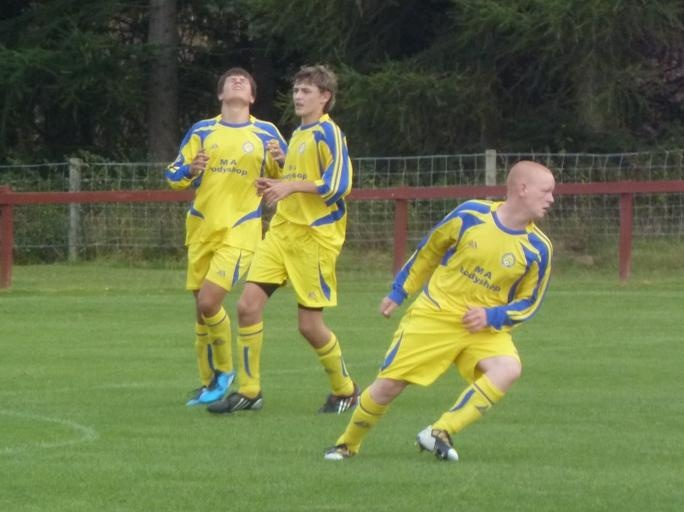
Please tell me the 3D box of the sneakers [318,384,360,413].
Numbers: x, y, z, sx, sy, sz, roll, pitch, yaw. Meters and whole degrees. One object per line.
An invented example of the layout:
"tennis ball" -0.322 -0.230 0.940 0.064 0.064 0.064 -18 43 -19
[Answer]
"sneakers" -0.022 1.689 14.792 0.535 0.229 0.188 -18 16 -41

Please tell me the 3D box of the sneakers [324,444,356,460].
"sneakers" -0.055 2.097 13.620 0.217 0.084 0.163 -1 3 -27
